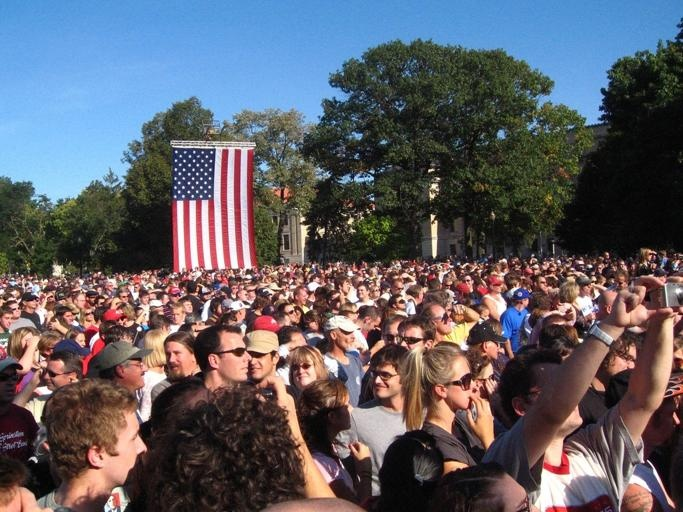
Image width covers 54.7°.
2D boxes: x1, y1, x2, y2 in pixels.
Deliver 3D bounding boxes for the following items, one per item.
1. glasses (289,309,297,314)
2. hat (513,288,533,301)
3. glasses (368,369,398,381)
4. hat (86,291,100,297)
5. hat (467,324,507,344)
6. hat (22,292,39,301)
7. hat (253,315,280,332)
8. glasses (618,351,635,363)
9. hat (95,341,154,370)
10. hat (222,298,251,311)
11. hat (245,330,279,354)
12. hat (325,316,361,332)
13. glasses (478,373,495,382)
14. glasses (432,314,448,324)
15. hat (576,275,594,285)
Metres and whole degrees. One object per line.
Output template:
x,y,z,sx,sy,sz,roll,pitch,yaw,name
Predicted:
-0.654,0.723,8.678,0.055,0.060,0.016,0,-13,-15,glasses
2.404,0.508,8.966,0.205,0.171,0.349,12,3,31,hat
0.287,0.878,4.906,0.084,0.062,0.226,0,-1,-42,glasses
-5.036,0.755,13.295,0.267,0.087,0.304,3,4,-10,hat
1.388,0.755,6.454,0.271,0.176,0.204,-12,7,-27,hat
-5.362,0.691,11.267,0.209,0.134,0.158,0,1,32,hat
-0.792,0.716,7.023,0.214,0.130,0.169,0,0,-16,hat
2.235,0.787,5.110,0.195,0.092,0.095,-1,-1,-36,glasses
-1.880,0.818,5.538,0.291,0.177,0.213,-15,8,-24,hat
-1.683,0.775,10.465,0.310,0.116,0.216,5,4,-41,hat
-0.692,0.734,5.651,0.271,0.137,0.289,-1,-1,-10,hat
-0.009,0.664,6.534,0.219,0.094,0.157,3,9,4,hat
1.134,0.956,5.207,0.137,0.047,0.143,1,-1,-3,glasses
1.077,0.665,7.101,0.115,0.042,0.133,2,-30,-3,glasses
3.494,0.351,9.518,0.200,0.132,0.355,-1,-1,20,hat
